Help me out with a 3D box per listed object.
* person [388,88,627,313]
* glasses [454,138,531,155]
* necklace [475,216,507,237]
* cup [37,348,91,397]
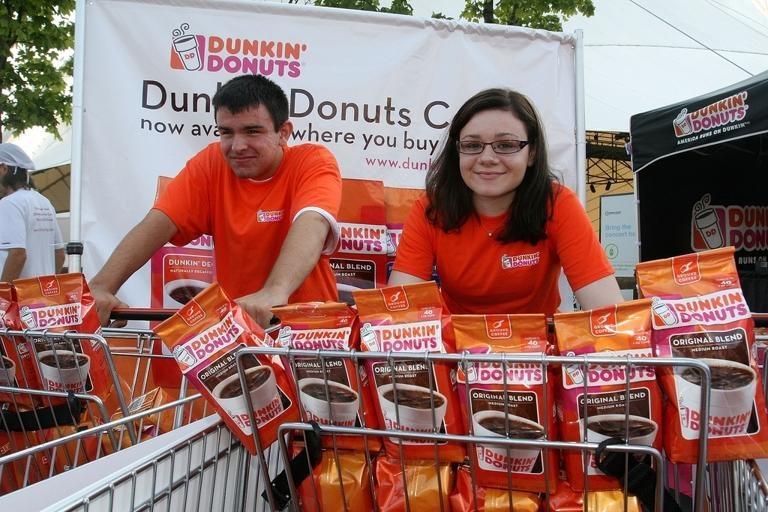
[{"bbox_3d":[0.555,-0.153,2.886,1.116,1.113,0.779,1,3,21],"label":"person"},{"bbox_3d":[0.465,-0.460,2.769,0.285,0.064,0.061,-2,0,2],"label":"glasses"},{"bbox_3d":[0.473,-0.133,2.895,0.086,0.034,0.091,-1,-31,13],"label":"necklace"},{"bbox_3d":[-1.210,0.434,2.481,0.171,0.138,0.165,1,-1,0],"label":"cup"}]
